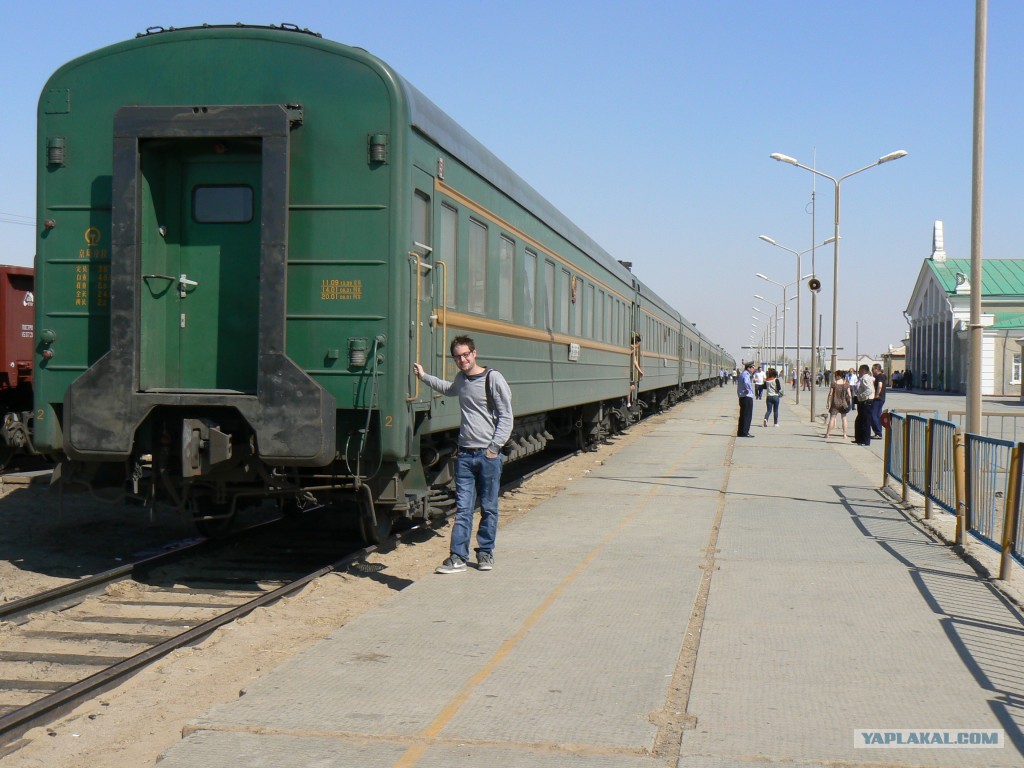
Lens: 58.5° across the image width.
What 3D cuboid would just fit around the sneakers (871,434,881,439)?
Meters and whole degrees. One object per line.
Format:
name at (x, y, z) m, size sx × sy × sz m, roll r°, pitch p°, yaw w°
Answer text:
sneakers at (9.709, 1.424, 24.330) m, size 0.143 × 0.066 × 0.218 m, roll 3°, pitch 5°, yaw 20°

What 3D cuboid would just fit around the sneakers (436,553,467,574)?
sneakers at (-0.546, 1.655, 8.215) m, size 0.109 × 0.142 × 0.318 m, roll -3°, pitch -12°, yaw 23°
